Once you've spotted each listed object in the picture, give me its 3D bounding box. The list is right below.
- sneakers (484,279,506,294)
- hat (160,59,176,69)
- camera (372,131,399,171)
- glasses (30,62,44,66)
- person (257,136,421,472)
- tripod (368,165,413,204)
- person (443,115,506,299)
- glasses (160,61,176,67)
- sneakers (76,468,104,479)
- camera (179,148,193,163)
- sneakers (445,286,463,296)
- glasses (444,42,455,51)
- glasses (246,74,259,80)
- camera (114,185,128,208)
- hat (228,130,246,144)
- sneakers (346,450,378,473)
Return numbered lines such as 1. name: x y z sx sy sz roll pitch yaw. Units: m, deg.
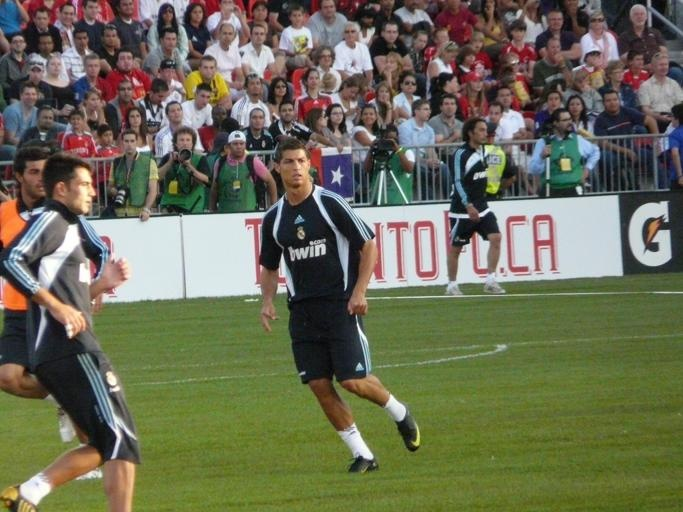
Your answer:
1. sneakers: 2.339 0.477 23.457 0.258 0.116 0.199 10 13 31
2. hat: -2.852 -3.122 25.197 0.158 0.085 0.158 -7 13 -17
3. camera: 0.653 -1.657 24.007 0.331 0.247 0.542 3 -15 -13
4. glasses: -4.814 -2.991 24.073 0.244 0.065 0.129 5 16 27
5. person: -0.134 0.471 16.087 1.574 3.331 0.871 10 18 41
6. tripod: 0.720 -1.085 24.658 0.560 0.742 0.600 -13 1 -13
7. person: 1.958 -0.668 22.888 0.826 2.721 0.758 -1 14 4
8. glasses: -2.849 -3.133 25.190 0.123 0.063 0.122 -14 18 -36
9. sneakers: -2.586 2.266 15.890 0.294 0.091 0.220 -10 0 -4
10. camera: -2.372 -1.508 23.313 0.174 0.177 0.131 5 -4 -2
11. sneakers: 1.726 0.528 23.402 0.293 0.214 0.111 -1 14 4
12. glasses: 1.921 -3.632 26.823 0.133 0.141 0.104 -14 -9 -3
13. glasses: -1.421 -2.842 24.643 0.141 0.105 0.139 1 -9 -14
14. camera: -3.337 -0.903 23.216 0.112 0.150 0.357 -30 23 27
15. hat: -1.601 -1.771 23.305 0.266 0.199 0.267 -2 14 2
16. sneakers: 0.234 2.156 15.905 0.365 0.186 0.132 -2 -2 -4
